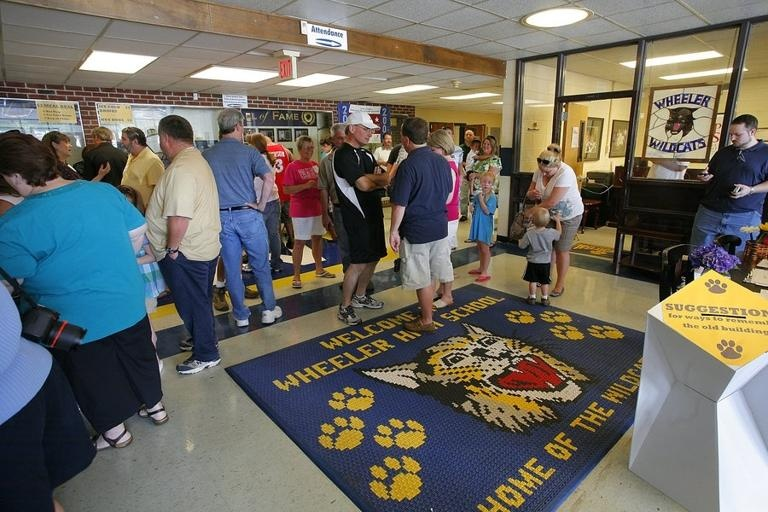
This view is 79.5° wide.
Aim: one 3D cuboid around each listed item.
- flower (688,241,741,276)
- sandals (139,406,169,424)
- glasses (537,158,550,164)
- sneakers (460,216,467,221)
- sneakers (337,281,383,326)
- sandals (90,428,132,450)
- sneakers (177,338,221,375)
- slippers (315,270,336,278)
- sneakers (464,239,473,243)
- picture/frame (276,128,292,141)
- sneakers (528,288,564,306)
[{"bbox_3d":[2.409,0.051,3.452,0.371,0.230,0.315,-12,19,-34],"label":"flower"},{"bbox_3d":[-1.763,1.179,3.532,0.146,0.068,0.211,-10,20,-39],"label":"sandals"},{"bbox_3d":[1.684,-1.003,4.881,0.066,0.069,0.157,-6,15,-15],"label":"glasses"},{"bbox_3d":[1.603,-0.743,9.293,0.114,0.075,0.118,2,-4,-20],"label":"sneakers"},{"bbox_3d":[-0.269,0.549,4.866,0.612,0.233,0.200,-10,24,-27],"label":"sneakers"},{"bbox_3d":[-1.957,1.315,3.319,0.247,0.075,0.125,-1,16,-20],"label":"sandals"},{"bbox_3d":[-1.608,0.894,4.122,0.195,0.218,0.528,15,15,38],"label":"sneakers"},{"bbox_3d":[-0.742,0.236,5.897,0.203,0.051,0.100,5,17,18],"label":"slippers"},{"bbox_3d":[1.395,-0.237,7.579,0.054,0.049,0.140,-7,-8,21],"label":"sneakers"},{"bbox_3d":[-2.365,-2.851,10.805,0.041,0.250,0.429,13,15,40],"label":"picture/frame"},{"bbox_3d":[1.757,0.448,5.066,0.328,0.104,0.160,-5,11,-4],"label":"sneakers"}]
